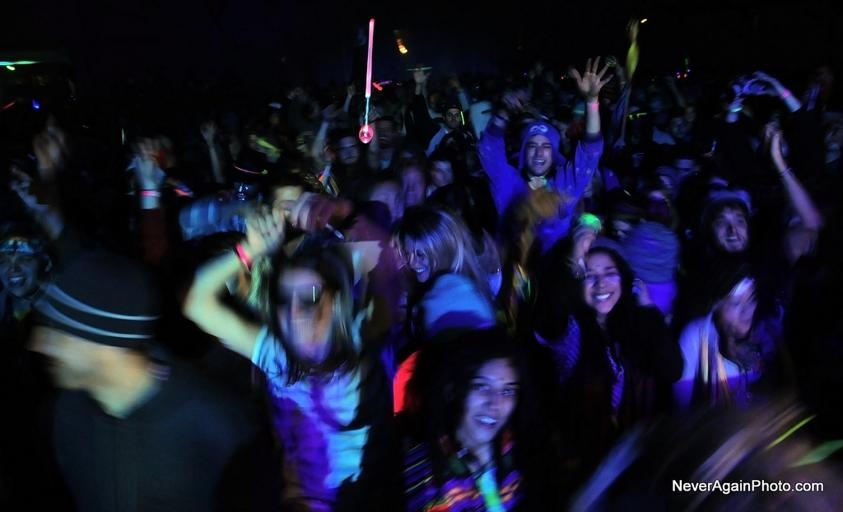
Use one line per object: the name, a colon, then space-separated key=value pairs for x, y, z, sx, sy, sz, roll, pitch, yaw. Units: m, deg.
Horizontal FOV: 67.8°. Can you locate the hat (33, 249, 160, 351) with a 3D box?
hat: x=-2.082 y=0.309 z=4.205 sx=0.745 sy=0.535 sz=0.583 roll=31 pitch=4 yaw=-19

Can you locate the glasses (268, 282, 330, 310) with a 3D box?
glasses: x=-0.868 y=0.283 z=4.382 sx=0.375 sy=0.180 sz=0.072 roll=3 pitch=22 yaw=1

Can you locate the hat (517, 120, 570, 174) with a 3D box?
hat: x=1.345 y=-1.162 z=6.744 sx=0.568 sy=0.580 sz=0.599 roll=-6 pitch=15 yaw=32
